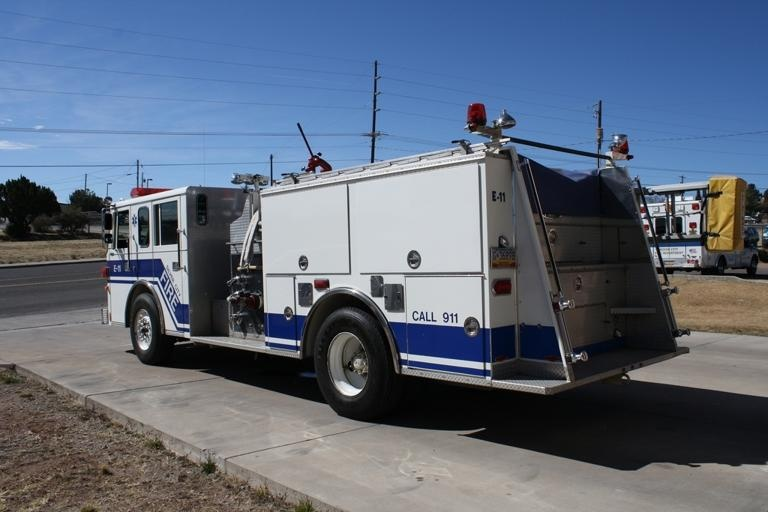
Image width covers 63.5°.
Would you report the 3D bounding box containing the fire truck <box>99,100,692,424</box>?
[{"bbox_3d":[-0.873,0.311,11.151,10.687,3.817,3.992,1,1,45],"label":"fire truck"}]
